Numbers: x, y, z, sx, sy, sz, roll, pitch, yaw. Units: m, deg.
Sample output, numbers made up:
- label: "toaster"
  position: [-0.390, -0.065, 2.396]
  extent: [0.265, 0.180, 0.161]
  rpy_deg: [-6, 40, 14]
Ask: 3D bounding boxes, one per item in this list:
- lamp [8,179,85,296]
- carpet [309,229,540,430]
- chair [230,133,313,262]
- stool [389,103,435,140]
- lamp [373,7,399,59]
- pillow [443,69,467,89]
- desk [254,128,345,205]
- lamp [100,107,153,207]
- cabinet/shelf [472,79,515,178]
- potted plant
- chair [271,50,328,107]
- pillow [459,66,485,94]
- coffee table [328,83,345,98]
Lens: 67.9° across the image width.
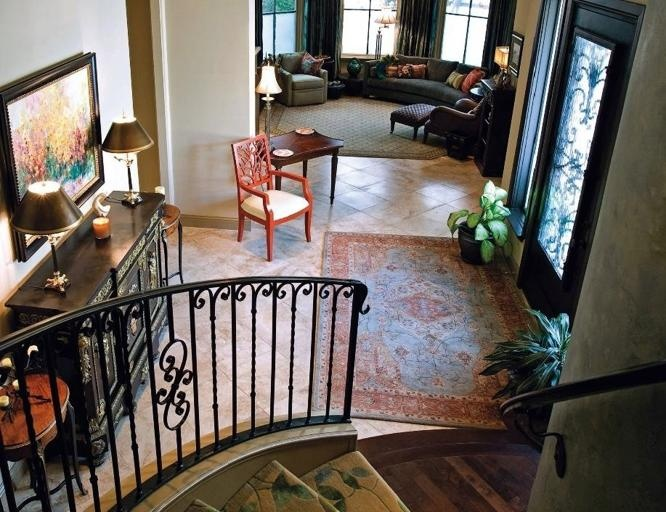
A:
- label: "lamp"
  position: [-1.728, -0.099, 2.981]
  extent: [0.407, 0.684, 0.330]
  rpy_deg: [18, 29, 30]
- label: "carpet"
  position: [0.911, 0.589, 5.230]
  extent: [2.191, 0.051, 3.882]
  rpy_deg: [2, 24, -2]
- label: "chair"
  position: [-0.762, -0.767, 5.974]
  extent: [0.860, 1.294, 0.815]
  rpy_deg: [22, 31, 35]
- label: "stool"
  position: [1.582, -2.797, 9.693]
  extent: [0.678, 0.507, 0.968]
  rpy_deg: [19, 43, 25]
- label: "lamp"
  position: [1.314, -5.614, 12.381]
  extent: [0.512, 1.265, 0.996]
  rpy_deg: [5, 25, 5]
- label: "pillow"
  position: [2.717, -3.910, 10.905]
  extent: [0.238, 0.444, 0.657]
  rpy_deg: [30, 10, -30]
- label: "desk"
  position: [-0.502, -1.160, 6.902]
  extent: [1.100, 0.841, 0.880]
  rpy_deg: [-20, 36, -33]
- label: "lamp"
  position: [-1.736, -0.793, 4.177]
  extent: [0.425, 0.696, 0.409]
  rpy_deg: [-12, 28, -32]
- label: "cabinet/shelf"
  position: [2.640, -2.068, 8.124]
  extent: [0.396, 1.460, 0.704]
  rpy_deg: [5, 25, 5]
- label: "potted plant"
  position: [1.749, -0.309, 5.722]
  extent: [0.668, 0.841, 0.593]
  rpy_deg: [19, 18, 18]
- label: "chair"
  position: [-0.768, -4.145, 11.493]
  extent: [1.020, 1.055, 0.976]
  rpy_deg: [-16, 33, -27]
- label: "pillow"
  position: [2.763, -3.661, 10.256]
  extent: [0.165, 0.569, 0.543]
  rpy_deg: [24, 2, -22]
- label: "coffee table"
  position: [0.086, -4.052, 12.083]
  extent: [0.278, 0.382, 0.574]
  rpy_deg: [18, 29, 30]
